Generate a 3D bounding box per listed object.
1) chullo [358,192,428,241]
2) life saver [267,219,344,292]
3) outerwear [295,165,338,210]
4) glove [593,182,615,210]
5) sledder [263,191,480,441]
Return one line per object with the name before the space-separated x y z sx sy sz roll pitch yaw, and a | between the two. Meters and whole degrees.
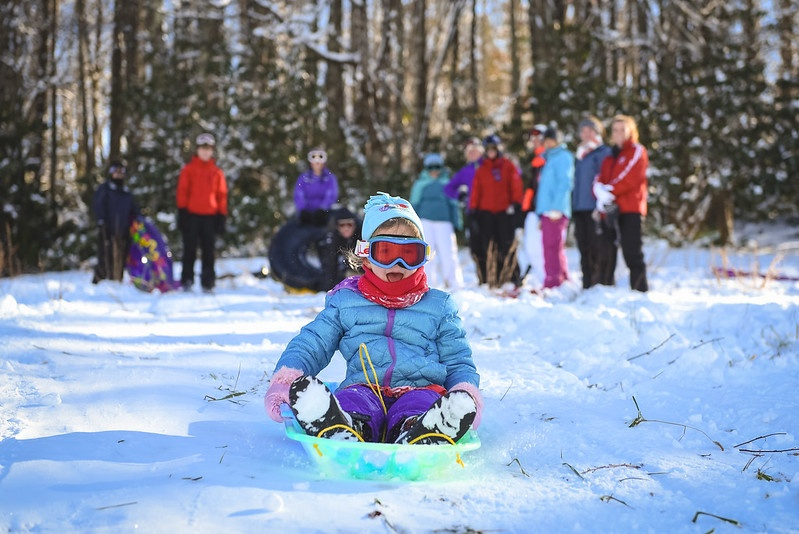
chullo | -0.119 -0.638 11.764 0.546 0.570 0.565 3 7 -23
life saver | -1.607 -0.201 16.644 1.067 1.192 0.297 -8 -10 -8
outerwear | -1.336 -1.209 16.735 0.753 1.021 0.567 0 8 -5
glove | 2.888 -1.006 14.763 0.100 0.345 0.336 -8 48 -20
sledder | -0.126 0.694 11.430 2.203 3.367 3.030 3 -3 -10
